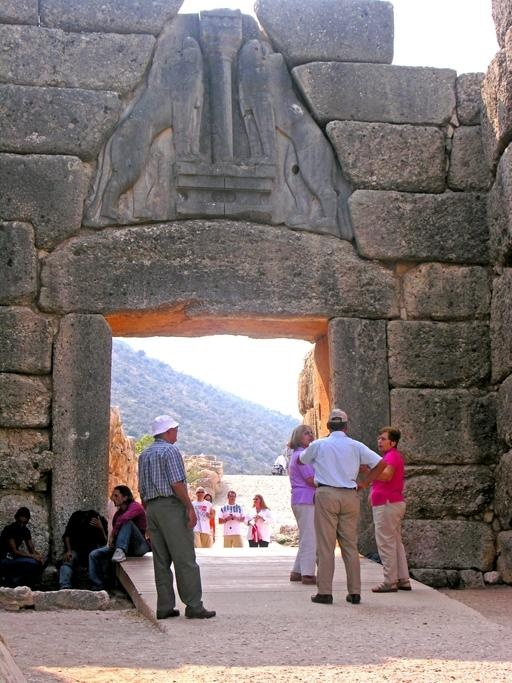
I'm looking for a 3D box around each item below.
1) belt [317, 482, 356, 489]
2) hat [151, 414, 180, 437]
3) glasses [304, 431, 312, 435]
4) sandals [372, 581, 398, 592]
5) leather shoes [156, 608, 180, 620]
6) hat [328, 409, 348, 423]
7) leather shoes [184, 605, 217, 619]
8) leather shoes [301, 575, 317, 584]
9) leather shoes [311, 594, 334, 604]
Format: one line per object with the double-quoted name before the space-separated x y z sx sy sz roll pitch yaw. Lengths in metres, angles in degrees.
"belt" 0.513 0.919 8.795 0.243 0.048 0.123 -3 -9 6
"hat" -0.547 0.529 8.575 0.152 0.079 0.117 -23 16 -20
"glasses" 0.367 0.631 9.540 0.037 0.029 0.045 1 -5 -2
"sandals" 0.854 1.611 9.138 0.181 0.075 0.061 3 -6 -6
"leather shoes" -0.521 1.636 8.332 0.049 0.060 0.144 3 5 44
"hat" 0.534 0.487 9.008 0.106 0.076 0.171 2 -9 5
"leather shoes" -0.328 1.623 8.329 0.195 0.082 0.066 2 9 -11
"leather shoes" 0.358 1.596 9.300 0.111 0.105 0.037 -1 -5 -4
"leather shoes" 0.420 1.608 8.665 0.053 0.059 0.132 2 0 -31
